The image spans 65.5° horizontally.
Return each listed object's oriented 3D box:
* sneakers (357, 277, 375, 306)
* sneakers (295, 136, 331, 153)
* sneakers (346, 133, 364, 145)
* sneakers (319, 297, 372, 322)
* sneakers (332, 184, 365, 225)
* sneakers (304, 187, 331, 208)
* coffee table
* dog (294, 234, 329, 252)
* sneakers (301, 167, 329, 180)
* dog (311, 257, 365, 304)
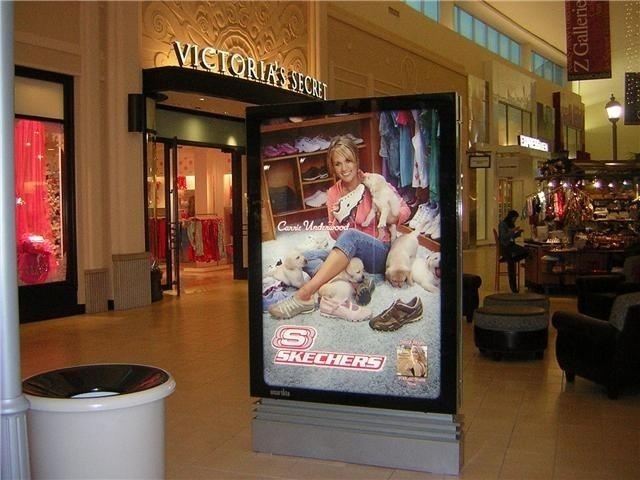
[{"bbox_3d":[0.284,0.316,3.040,0.098,0.192,0.089,6,6,7],"label":"sneakers"},{"bbox_3d":[-0.045,-0.611,3.163,0.143,0.060,0.113,4,24,14],"label":"sneakers"},{"bbox_3d":[0.224,-0.630,3.100,0.118,0.048,0.044,19,41,25],"label":"sneakers"},{"bbox_3d":[0.165,0.438,3.194,0.322,0.141,0.130,2,15,8],"label":"sneakers"},{"bbox_3d":[0.170,-0.223,3.181,0.127,0.317,0.107,26,17,-37],"label":"sneakers"},{"bbox_3d":[-0.017,-0.261,3.161,0.134,0.088,0.058,-38,-21,6],"label":"sneakers"},{"bbox_3d":[2.097,0.740,5.480,0.556,0.382,1.126,-1,3,15],"label":"coffee table"},{"bbox_3d":[-0.044,0.018,3.133,0.214,0.100,0.082,-4,7,9],"label":"dog"},{"bbox_3d":[-0.031,-0.423,3.157,0.165,0.074,0.067,-1,12,13],"label":"sneakers"},{"bbox_3d":[0.139,0.292,3.193,0.248,0.192,0.488,-2,21,19],"label":"dog"}]
